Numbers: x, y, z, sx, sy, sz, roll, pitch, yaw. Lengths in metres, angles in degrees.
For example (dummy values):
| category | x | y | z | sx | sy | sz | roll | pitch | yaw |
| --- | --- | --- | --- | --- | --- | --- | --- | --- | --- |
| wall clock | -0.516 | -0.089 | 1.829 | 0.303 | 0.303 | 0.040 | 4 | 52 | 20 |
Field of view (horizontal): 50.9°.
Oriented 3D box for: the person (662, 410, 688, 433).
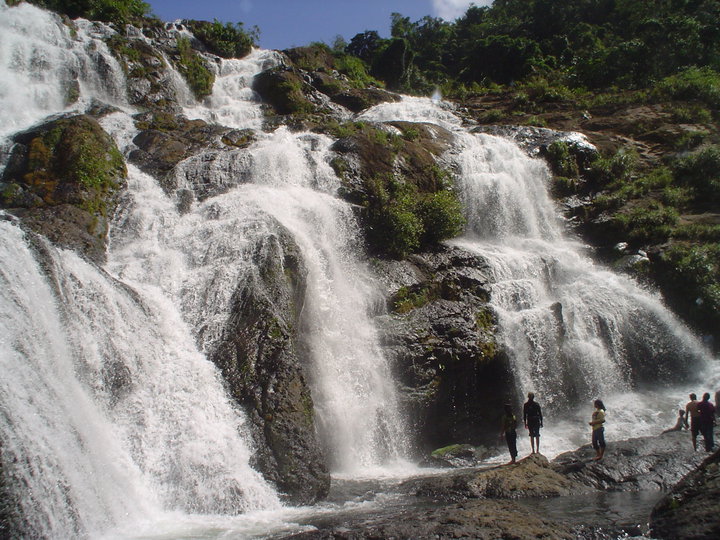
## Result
| category | x | y | z | sx | sy | sz | roll | pitch | yaw |
| --- | --- | --- | --- | --- | --- | --- | --- | --- | --- |
| person | 12.619 | 5.965 | 29.846 | 0.726 | 0.811 | 1.890 | 2 | 6 | 32 |
